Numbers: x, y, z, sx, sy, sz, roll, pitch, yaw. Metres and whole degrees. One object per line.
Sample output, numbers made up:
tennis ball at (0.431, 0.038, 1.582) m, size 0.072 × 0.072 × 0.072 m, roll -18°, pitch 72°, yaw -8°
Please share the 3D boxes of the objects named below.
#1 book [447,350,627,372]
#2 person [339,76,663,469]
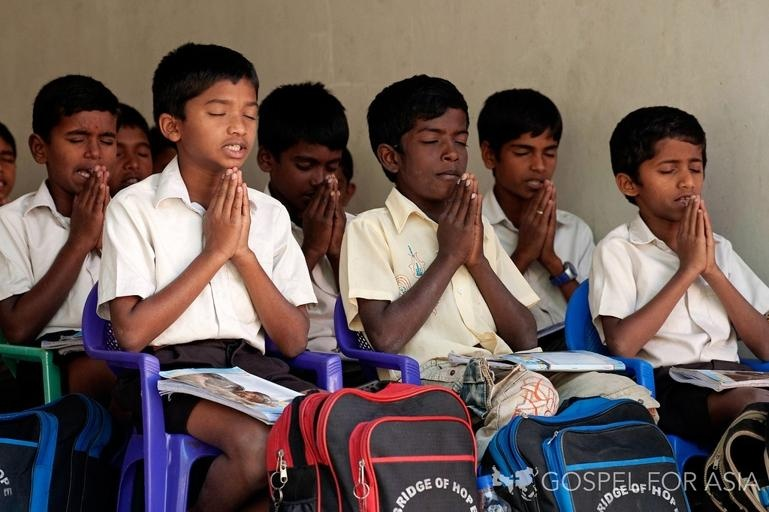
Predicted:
book at (0.510, 0.354, 2.725) m, size 0.507 × 0.043 × 0.376 m, roll 2°, pitch 2°, yaw -36°
person at (0.386, -0.014, 2.954) m, size 0.950 × 1.389 × 1.073 m, roll -2°, pitch 0°, yaw -26°
